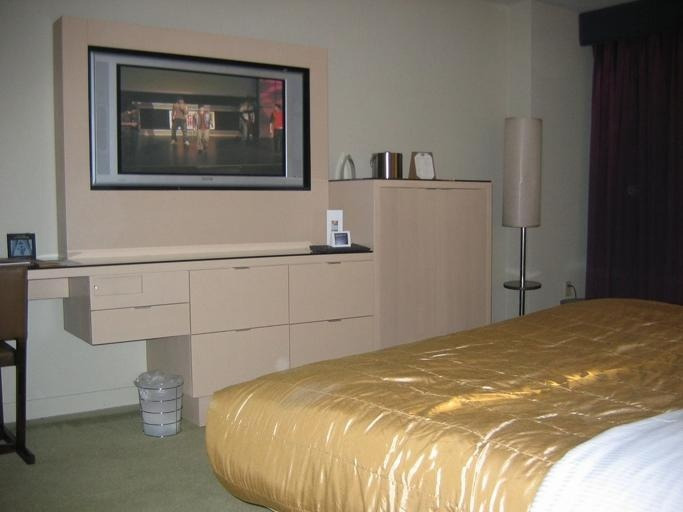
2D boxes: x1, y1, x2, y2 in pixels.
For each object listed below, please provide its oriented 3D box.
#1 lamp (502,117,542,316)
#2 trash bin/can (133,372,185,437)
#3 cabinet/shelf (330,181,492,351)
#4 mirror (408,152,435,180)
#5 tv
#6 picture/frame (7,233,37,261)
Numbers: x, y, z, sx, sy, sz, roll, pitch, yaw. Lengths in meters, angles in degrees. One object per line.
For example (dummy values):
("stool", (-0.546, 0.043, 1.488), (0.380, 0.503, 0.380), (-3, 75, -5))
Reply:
("lamp", (1.558, -0.320, 4.749), (0.319, 1.752, 0.531), (1, 9, 19))
("trash bin/can", (-1.025, 0.867, 3.268), (0.296, 0.382, 0.300), (1, -1, -4))
("cabinet/shelf", (0.432, 0.050, 3.840), (1.057, 1.370, 0.444), (-3, 6, -25))
("mirror", (0.611, -0.688, 4.157), (0.187, 0.204, 0.328), (-1, 9, 7))
("tv", (-0.973, -0.906, 3.537), (0.994, 0.632, 0.016), (-2, 3, -27))
("picture/frame", (-1.896, -0.052, 3.245), (0.150, 0.179, 0.023), (-1, -1, -33))
